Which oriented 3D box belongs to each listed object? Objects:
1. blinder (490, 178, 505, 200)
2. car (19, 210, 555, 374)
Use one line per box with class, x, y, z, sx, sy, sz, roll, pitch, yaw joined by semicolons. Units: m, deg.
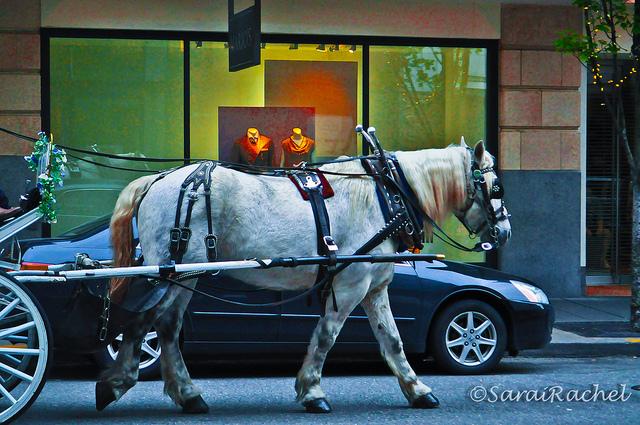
blinder;2.528;-0.365;16.384;0.261;0.244;0.279;-5;37;1
car;-0.364;1.323;17.682;7.702;1.919;3.037;0;-1;-7
